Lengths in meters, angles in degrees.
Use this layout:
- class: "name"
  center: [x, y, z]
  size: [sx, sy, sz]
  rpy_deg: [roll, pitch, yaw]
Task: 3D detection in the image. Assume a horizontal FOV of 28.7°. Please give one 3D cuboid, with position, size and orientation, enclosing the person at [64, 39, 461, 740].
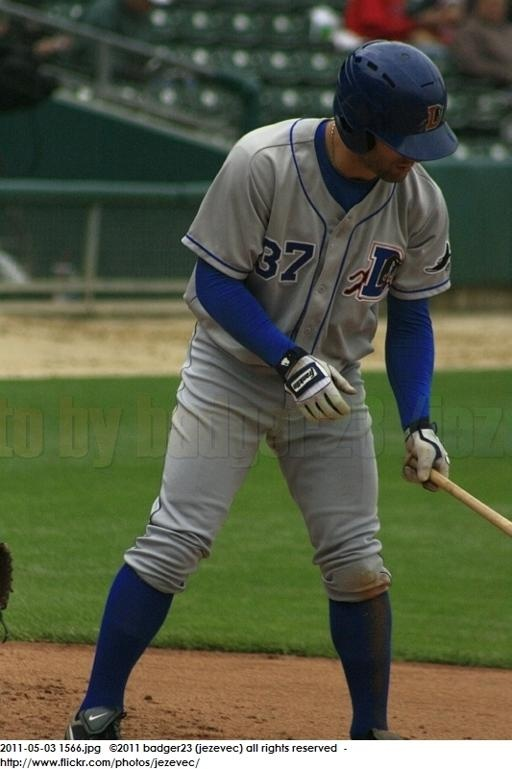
- class: "person"
  center: [0.080, 0.022, 2.202]
  size: [0.794, 1.520, 0.446]
  rpy_deg: [6, 6, -8]

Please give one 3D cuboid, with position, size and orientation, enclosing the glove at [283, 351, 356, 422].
- class: "glove"
  center: [0.126, 0.007, 2.045]
  size: [0.154, 0.124, 0.051]
  rpy_deg: [49, 4, 12]

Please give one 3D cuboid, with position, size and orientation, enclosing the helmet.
- class: "helmet"
  center: [0.287, -0.586, 2.048]
  size: [0.273, 0.270, 0.203]
  rpy_deg: [7, 5, 8]
